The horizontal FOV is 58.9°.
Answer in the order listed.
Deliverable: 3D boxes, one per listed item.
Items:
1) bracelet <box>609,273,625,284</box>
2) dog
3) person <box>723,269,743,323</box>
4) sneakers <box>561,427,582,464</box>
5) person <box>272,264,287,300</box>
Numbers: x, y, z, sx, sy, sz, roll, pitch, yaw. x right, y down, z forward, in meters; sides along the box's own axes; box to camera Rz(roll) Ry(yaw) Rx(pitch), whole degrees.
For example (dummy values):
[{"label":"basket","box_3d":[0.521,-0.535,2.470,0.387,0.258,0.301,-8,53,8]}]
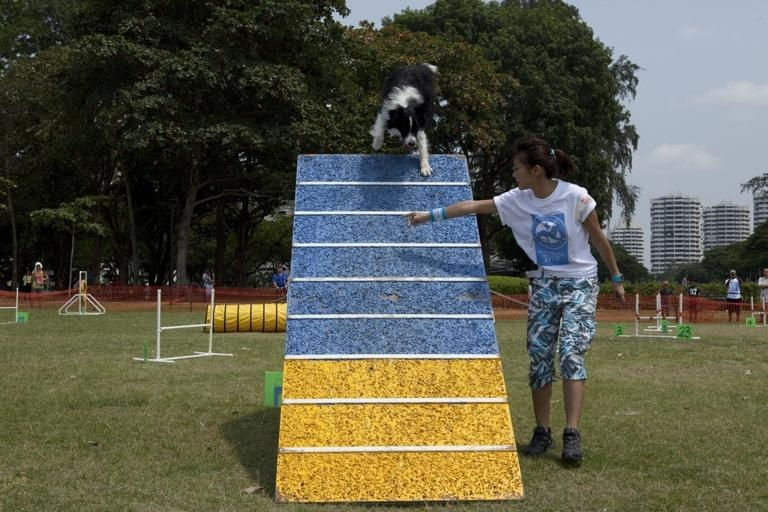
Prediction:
[{"label":"bracelet","box_3d":[2.527,0.242,7.302,0.151,0.106,0.162,-1,0,-9]},{"label":"dog","box_3d":[0.435,-2.344,10.958,0.902,0.963,2.685,7,26,4]},{"label":"person","box_3d":[11.024,1.267,21.306,0.531,1.586,0.460,-1,-2,31]},{"label":"sneakers","box_3d":[1.980,1.959,7.060,0.251,0.377,0.216,1,1,1]},{"label":"person","box_3d":[-3.587,0.927,23.427,0.393,0.964,2.468,0,1,-11]}]
